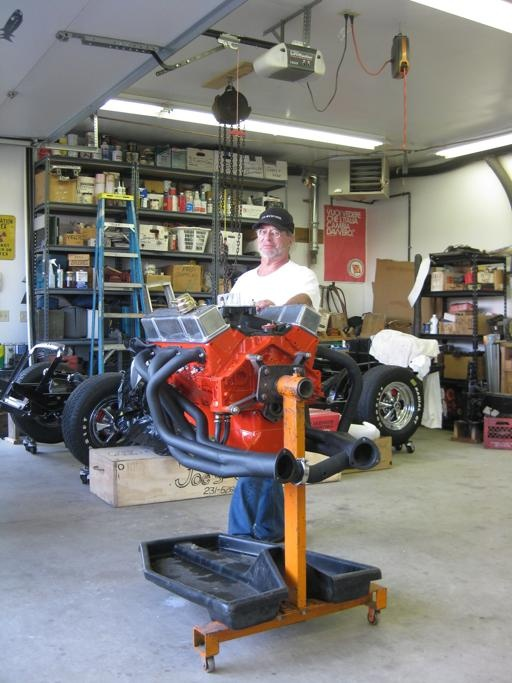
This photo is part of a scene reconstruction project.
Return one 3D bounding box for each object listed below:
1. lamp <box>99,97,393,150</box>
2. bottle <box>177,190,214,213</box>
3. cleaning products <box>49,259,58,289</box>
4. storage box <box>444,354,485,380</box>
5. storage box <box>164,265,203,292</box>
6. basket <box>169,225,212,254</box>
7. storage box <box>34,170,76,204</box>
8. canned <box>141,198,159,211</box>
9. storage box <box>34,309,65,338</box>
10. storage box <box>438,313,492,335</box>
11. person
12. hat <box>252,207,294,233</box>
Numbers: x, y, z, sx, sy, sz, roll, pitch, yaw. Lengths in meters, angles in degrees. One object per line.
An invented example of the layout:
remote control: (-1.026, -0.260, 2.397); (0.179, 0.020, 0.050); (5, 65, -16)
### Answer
lamp: (-0.098, -2.467, 6.895); (3.272, 0.203, 0.934); (0, 2, -24)
bottle: (-0.758, -1.762, 7.586); (0.373, 0.321, 0.195); (2, -2, -26)
cleaning products: (-2.213, -0.737, 6.581); (0.084, 0.313, 0.100); (0, 1, -17)
storage box: (2.279, 0.250, 6.663); (0.302, 0.317, 0.458); (-1, 2, -28)
storage box: (-0.870, -0.766, 7.513); (0.394, 0.352, 0.371); (1, 3, -6)
basket: (-0.797, -1.283, 7.533); (0.433, 0.271, 0.374); (0, 1, -38)
storage box: (-2.217, -1.693, 6.811); (0.452, 0.429, 0.417); (5, 7, -30)
canned: (-1.295, -1.666, 7.283); (0.108, 0.180, 0.199); (1, 2, 29)
storage box: (-2.246, -0.169, 6.751); (0.414, 0.371, 0.296); (0, -1, -9)
storage box: (2.378, -0.188, 6.882); (0.409, 0.199, 0.293); (2, 5, 41)
person: (0.084, 0.094, 2.801); (0.441, 1.503, 0.802); (0, 1, -1)
hat: (0.097, -0.581, 2.909); (0.121, 0.086, 0.171); (13, 2, 26)
